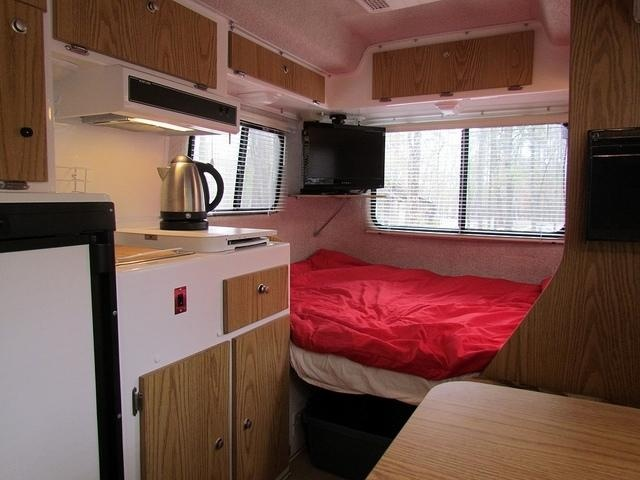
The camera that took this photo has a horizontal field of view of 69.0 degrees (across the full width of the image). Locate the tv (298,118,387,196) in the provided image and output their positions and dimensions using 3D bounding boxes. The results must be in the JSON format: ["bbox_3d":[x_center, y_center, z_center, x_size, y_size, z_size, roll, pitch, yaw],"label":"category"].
[{"bbox_3d":[0.167,-0.678,3.757,0.671,0.499,0.071,-2,12,-17],"label":"tv"}]

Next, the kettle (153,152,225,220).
[{"bbox_3d":[-0.595,-0.240,2.107,0.327,0.328,0.240,0,4,-17],"label":"kettle"}]

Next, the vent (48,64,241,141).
[{"bbox_3d":[-0.735,-0.599,2.049,0.375,0.250,0.689,6,14,29],"label":"vent"}]

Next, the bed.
[{"bbox_3d":[0.355,0.452,2.483,0.940,0.236,0.965,-5,6,31],"label":"bed"}]
